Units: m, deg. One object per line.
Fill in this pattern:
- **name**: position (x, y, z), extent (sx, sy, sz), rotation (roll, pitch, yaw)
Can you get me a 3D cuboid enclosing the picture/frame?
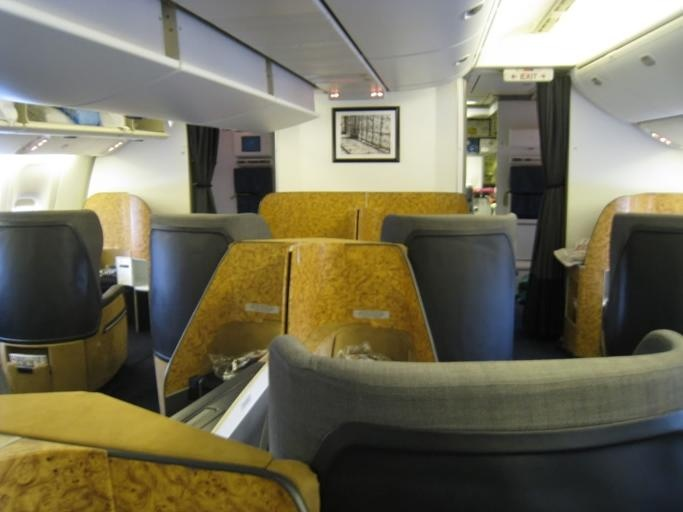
- **picture/frame**: position (0.197, -0.926, 3.922), extent (0.391, 0.308, 0.017), rotation (1, 5, 6)
